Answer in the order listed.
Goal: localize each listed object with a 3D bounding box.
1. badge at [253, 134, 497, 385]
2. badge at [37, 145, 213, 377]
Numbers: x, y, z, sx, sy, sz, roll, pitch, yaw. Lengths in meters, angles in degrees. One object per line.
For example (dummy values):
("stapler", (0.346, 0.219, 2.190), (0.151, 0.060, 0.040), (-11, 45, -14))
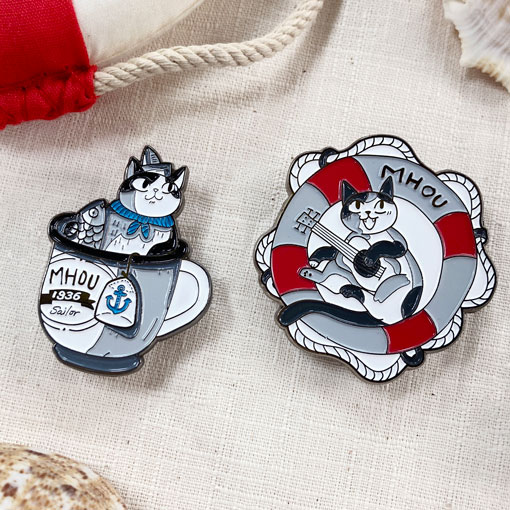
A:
("badge", (0.172, 0.023, 1.051), (0.367, 0.095, 0.319), (18, 84, -3))
("badge", (-0.188, 0.024, 1.048), (0.342, 0.068, 0.353), (14, 83, 1))
